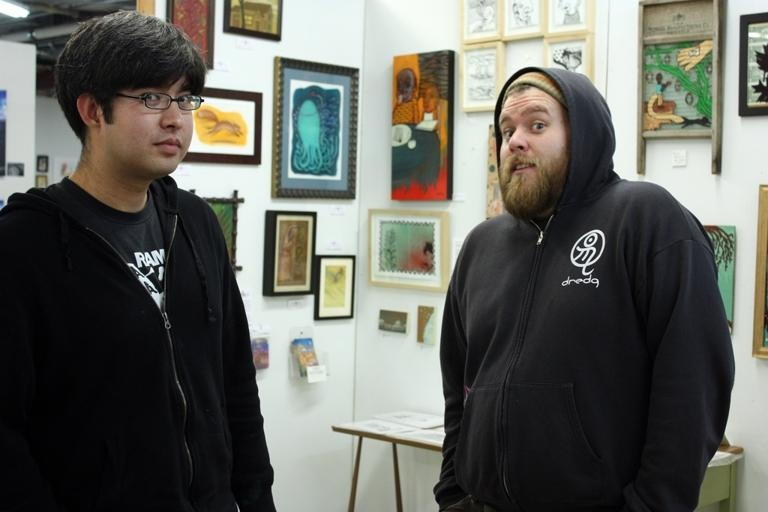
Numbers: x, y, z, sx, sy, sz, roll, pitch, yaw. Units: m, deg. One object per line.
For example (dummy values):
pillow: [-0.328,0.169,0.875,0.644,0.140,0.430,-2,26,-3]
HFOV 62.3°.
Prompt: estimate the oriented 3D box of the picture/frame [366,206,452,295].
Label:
picture/frame: [0.204,-0.050,4.527,0.559,0.522,0.047,5,7,36]

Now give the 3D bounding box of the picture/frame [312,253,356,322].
picture/frame: [-0.378,0.219,4.673,0.468,0.672,0.060,-1,3,-41]
